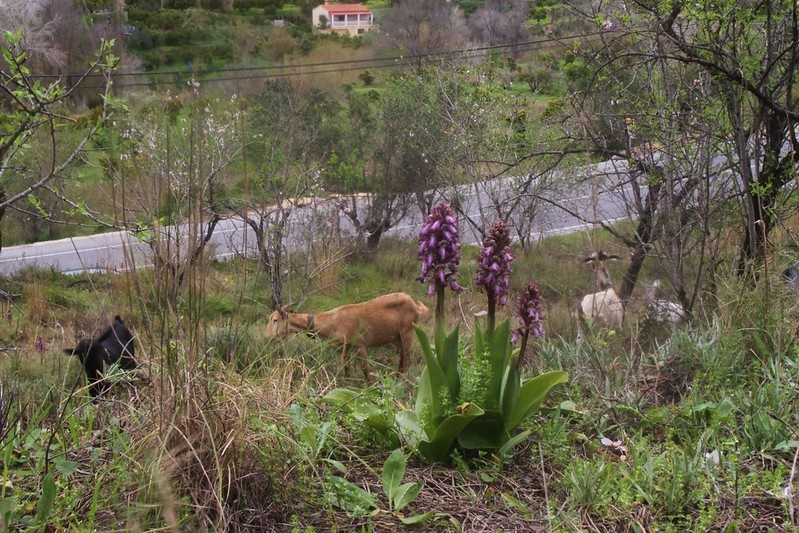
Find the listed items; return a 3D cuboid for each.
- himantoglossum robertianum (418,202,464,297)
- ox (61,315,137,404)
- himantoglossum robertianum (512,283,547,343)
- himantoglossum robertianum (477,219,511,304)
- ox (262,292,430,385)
[{"bbox_3d":[0.352,-0.143,7.364,0.374,0.870,0.468,-1,13,1],"label":"himantoglossum robertianum"},{"bbox_3d":[-2.990,0.961,8.551,0.283,0.688,1.040,2,12,10],"label":"ox"},{"bbox_3d":[1.167,0.410,7.468,0.276,0.623,0.479,0,13,9],"label":"himantoglossum robertianum"},{"bbox_3d":[0.842,-0.012,7.342,0.310,0.834,0.439,0,13,5],"label":"himantoglossum robertianum"},{"bbox_3d":[-0.486,0.794,9.535,1.747,0.961,1.101,-15,19,-40],"label":"ox"}]
